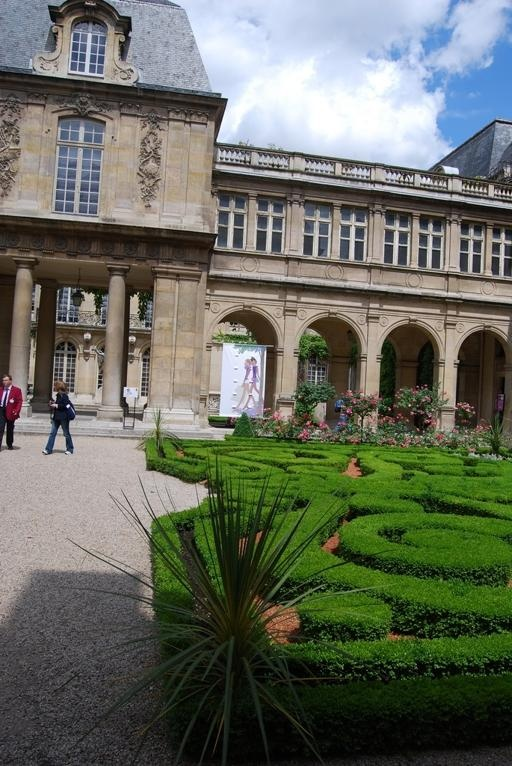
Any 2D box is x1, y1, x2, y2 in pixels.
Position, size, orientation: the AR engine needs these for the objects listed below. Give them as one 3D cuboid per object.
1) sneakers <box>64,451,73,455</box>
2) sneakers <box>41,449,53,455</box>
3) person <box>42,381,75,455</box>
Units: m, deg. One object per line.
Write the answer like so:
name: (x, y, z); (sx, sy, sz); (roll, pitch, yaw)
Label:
sneakers: (-3.242, 1.228, 11.483); (0.073, 0.067, 0.169); (-24, -11, -7)
sneakers: (-3.538, 1.191, 11.218); (0.078, 0.094, 0.208); (1, -20, 5)
person: (-4.136, 0.766, 13.790); (0.775, 1.546, 0.604); (18, -36, -42)
